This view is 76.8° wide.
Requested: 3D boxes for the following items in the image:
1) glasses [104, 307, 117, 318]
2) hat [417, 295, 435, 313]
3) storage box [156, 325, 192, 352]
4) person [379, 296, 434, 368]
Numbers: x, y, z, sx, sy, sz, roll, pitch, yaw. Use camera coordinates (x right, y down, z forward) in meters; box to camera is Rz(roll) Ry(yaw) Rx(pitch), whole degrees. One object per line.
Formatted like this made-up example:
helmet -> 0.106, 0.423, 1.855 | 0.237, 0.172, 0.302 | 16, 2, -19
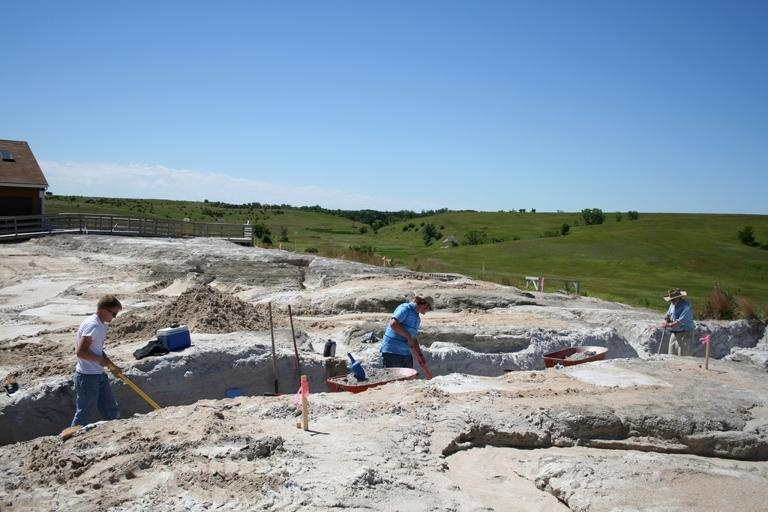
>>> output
glasses -> -4.313, 0.888, 7.581 | 0.268, 0.171, 0.065 | 3, 0, -16
hat -> 0.767, 0.970, 9.607 | 0.368, 0.340, 0.246 | 8, 7, -3
storage box -> -4.870, 1.867, 11.013 | 0.709, 0.435, 0.708 | 1, 2, 41
person -> 0.567, 1.895, 11.621 | 1.615, 2.579, 0.964 | 3, 48, 6
